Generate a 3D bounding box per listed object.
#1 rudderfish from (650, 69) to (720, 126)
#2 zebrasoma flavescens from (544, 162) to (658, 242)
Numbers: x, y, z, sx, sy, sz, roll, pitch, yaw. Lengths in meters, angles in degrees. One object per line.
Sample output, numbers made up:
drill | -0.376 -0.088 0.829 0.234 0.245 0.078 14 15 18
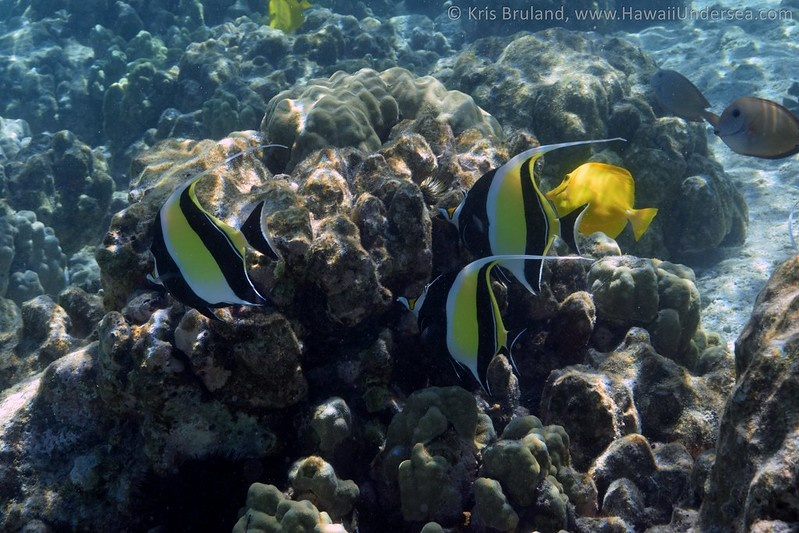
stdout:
rudderfish | 6.435 -3.883 20.372 1.511 1.529 1.433 5 25 11
zebrasoma flavescens | 4.095 -1.382 18.500 2.404 1.656 0.749 25 11 3
